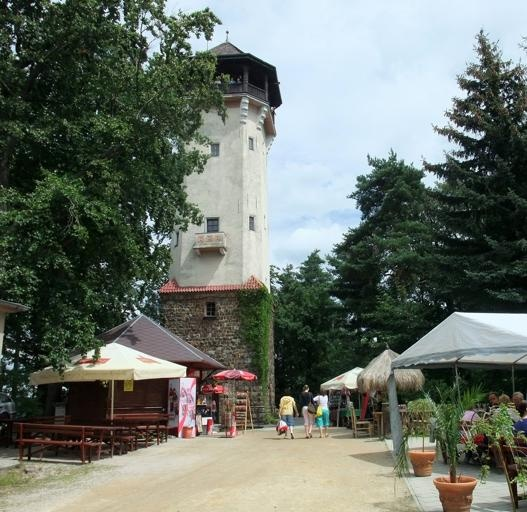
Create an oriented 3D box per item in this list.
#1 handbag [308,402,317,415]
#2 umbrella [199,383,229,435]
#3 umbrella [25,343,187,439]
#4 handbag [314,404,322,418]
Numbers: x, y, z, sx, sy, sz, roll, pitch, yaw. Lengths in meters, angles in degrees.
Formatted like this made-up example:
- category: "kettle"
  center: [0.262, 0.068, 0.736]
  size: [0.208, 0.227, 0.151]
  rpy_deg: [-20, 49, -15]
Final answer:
- category: "handbag"
  center: [1.759, 5.558, 22.651]
  size: [0.394, 0.375, 0.140]
  rpy_deg: [6, -29, -8]
- category: "umbrella"
  center: [-2.377, 6.894, 28.778]
  size: [1.495, 1.977, 1.394]
  rpy_deg: [1, -10, -16]
- category: "umbrella"
  center: [-4.855, 4.306, 19.504]
  size: [3.366, 2.125, 3.283]
  rpy_deg: [-1, -18, 0]
- category: "handbag"
  center: [2.024, 5.624, 22.531]
  size: [0.406, 0.511, 0.301]
  rpy_deg: [3, 9, 6]
